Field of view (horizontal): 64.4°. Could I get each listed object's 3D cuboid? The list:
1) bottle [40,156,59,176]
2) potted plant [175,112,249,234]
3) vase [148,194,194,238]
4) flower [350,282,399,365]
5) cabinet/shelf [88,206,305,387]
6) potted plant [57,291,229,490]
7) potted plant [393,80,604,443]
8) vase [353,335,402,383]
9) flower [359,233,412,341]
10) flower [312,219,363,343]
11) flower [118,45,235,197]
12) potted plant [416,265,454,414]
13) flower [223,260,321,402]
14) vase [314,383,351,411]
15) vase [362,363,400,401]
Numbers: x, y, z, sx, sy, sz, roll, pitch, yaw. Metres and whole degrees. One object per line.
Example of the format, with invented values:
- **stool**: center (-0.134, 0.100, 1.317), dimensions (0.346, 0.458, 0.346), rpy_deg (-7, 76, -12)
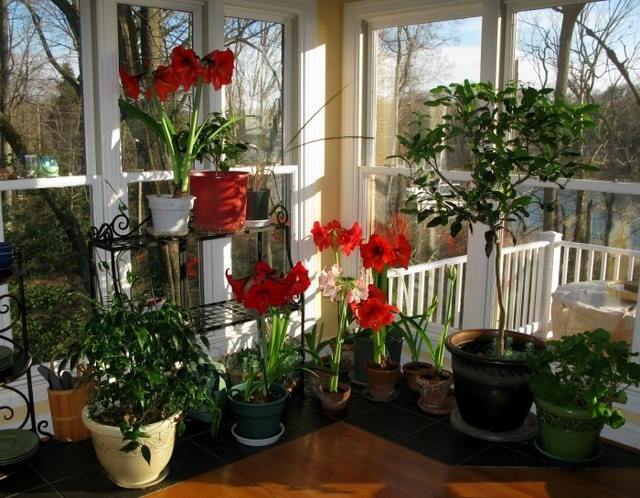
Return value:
- **bottle**: center (-1.426, -0.427, 2.684), dimensions (0.079, 0.103, 0.041), rpy_deg (-2, -2, -31)
- **potted plant**: center (-0.590, -0.431, 2.888), dimensions (0.379, 0.691, 0.332), rpy_deg (-5, 3, -35)
- **vase**: center (-0.790, -0.188, 2.747), dimensions (0.268, 0.211, 0.276), rpy_deg (2, 8, 2)
- **flower**: center (0.338, 0.528, 3.004), dimensions (0.274, 0.464, 0.263), rpy_deg (13, 36, 21)
- **cabinet/shelf**: center (-0.700, 0.264, 2.781), dimensions (1.106, 1.052, 0.365), rpy_deg (-6, 6, -42)
- **potted plant**: center (-0.795, 0.664, 2.455), dimensions (0.676, 0.887, 0.562), rpy_deg (-7, 14, -34)
- **potted plant**: center (0.891, 0.043, 2.683), dimensions (0.844, 1.640, 0.853), rpy_deg (9, -9, -22)
- **vase**: center (0.385, 0.714, 3.531), dimensions (0.320, 0.309, 0.321), rpy_deg (0, 2, -19)
- **flower**: center (0.365, 0.141, 3.026), dimensions (0.272, 0.366, 0.301), rpy_deg (-7, 4, -16)
- **flower**: center (0.103, 0.156, 3.026), dimensions (0.257, 0.659, 0.247), rpy_deg (7, -17, -25)
- **flower**: center (-0.794, -0.699, 2.830), dimensions (0.588, 0.776, 0.621), rpy_deg (-4, 12, -22)
- **potted plant**: center (0.709, 0.519, 3.138), dimensions (0.312, 0.929, 0.239), rpy_deg (-3, 7, 12)
- **flower**: center (-0.231, 0.453, 2.695), dimensions (0.414, 0.681, 0.409), rpy_deg (-8, -9, -7)
- **vase**: center (0.095, 0.905, 3.114), dimensions (0.155, 0.091, 0.153), rpy_deg (-4, 6, -39)
- **vase**: center (0.389, 0.855, 3.321), dimensions (0.253, 0.212, 0.259), rpy_deg (4, 4, 36)
